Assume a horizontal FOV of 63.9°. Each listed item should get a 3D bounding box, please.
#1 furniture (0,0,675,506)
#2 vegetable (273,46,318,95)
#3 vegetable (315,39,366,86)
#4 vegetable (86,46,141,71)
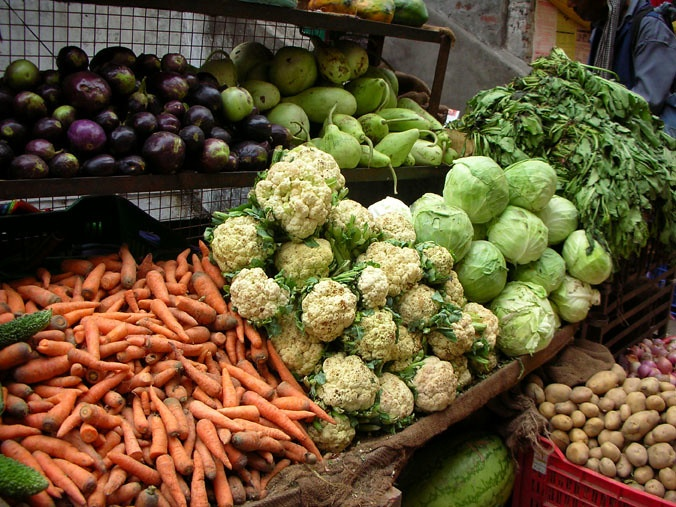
[{"bbox_3d":[0.209,0.290,3.236,3.818,1.383,1.553,-20,48,-26],"label":"furniture"},{"bbox_3d":[-0.343,-1.487,4.517,0.366,0.380,0.356,0,9,3],"label":"vegetable"},{"bbox_3d":[-0.019,-1.685,4.769,0.341,0.269,0.454,-1,28,-33],"label":"vegetable"},{"bbox_3d":[-1.419,-1.240,3.433,0.254,0.165,0.160,-2,68,-1],"label":"vegetable"}]
